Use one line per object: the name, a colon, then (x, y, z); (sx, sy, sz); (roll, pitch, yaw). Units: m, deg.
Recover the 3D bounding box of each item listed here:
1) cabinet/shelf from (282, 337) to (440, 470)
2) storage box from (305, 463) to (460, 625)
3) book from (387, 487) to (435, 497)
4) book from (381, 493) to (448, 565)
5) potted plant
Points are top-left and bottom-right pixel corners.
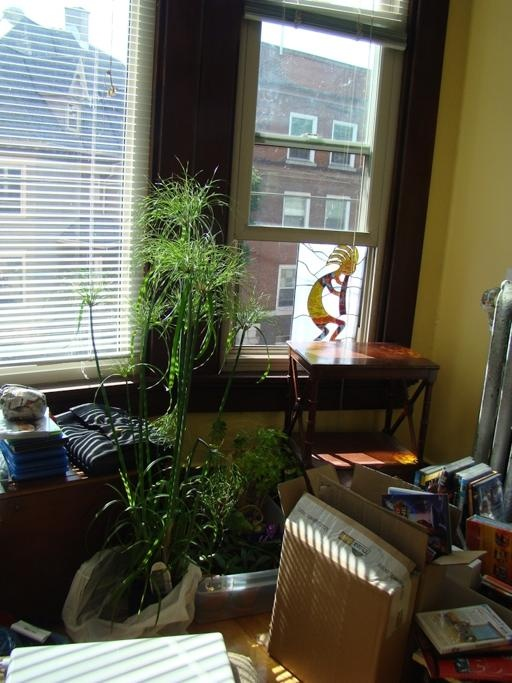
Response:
cabinet/shelf: (0.431, 0.271, 2.215); (0.561, 0.467, 0.465); (2, 10, -3)
storage box: (0.382, 0.584, 1.475); (0.246, 0.281, 0.432); (6, 4, -33)
book: (0.420, 0.425, 1.446); (0.065, 0.014, 0.062); (1, -2, 1)
book: (0.447, 0.497, 1.404); (0.169, 0.153, 0.061); (-7, -35, 24)
potted plant: (-0.282, 0.265, 1.594); (0.508, 1.136, 0.463); (14, 8, 24)
